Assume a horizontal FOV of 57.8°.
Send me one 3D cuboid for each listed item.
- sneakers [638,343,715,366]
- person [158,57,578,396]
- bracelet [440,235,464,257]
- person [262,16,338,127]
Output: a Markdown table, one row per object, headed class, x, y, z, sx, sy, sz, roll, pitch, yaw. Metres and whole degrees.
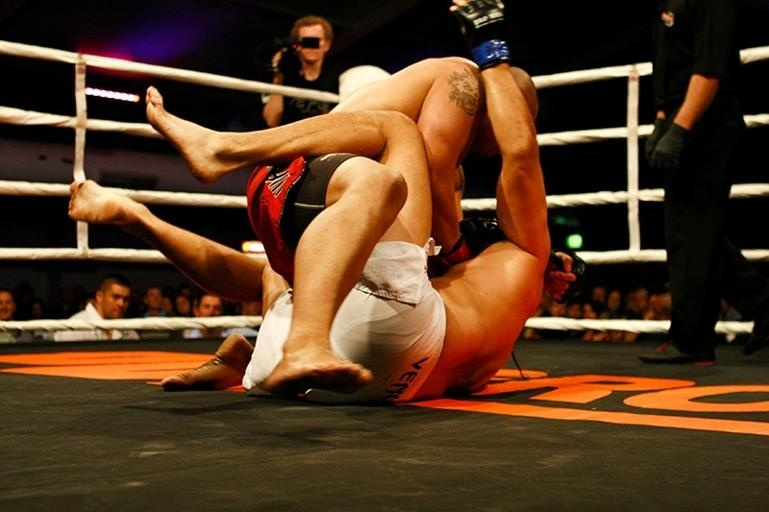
| class | x | y | z | sx | sy | sz | roll | pitch | yaw |
| --- | --- | --- | --- | --- | --- | --- | --- | --- | --- |
| sneakers | 1.309 | 0.444 | 3.151 | 0.354 | 0.119 | 0.113 | 1 | -12 | 11 |
| person | -0.036 | 0.043 | 2.534 | 1.514 | 1.190 | 0.887 | 23 | -26 | -23 |
| bracelet | 0.230 | -0.034 | 2.282 | 0.068 | 0.042 | 0.066 | -2 | 12 | 29 |
| person | -0.490 | -1.338 | 5.060 | 0.377 | 0.630 | 0.808 | -16 | 36 | -6 |
